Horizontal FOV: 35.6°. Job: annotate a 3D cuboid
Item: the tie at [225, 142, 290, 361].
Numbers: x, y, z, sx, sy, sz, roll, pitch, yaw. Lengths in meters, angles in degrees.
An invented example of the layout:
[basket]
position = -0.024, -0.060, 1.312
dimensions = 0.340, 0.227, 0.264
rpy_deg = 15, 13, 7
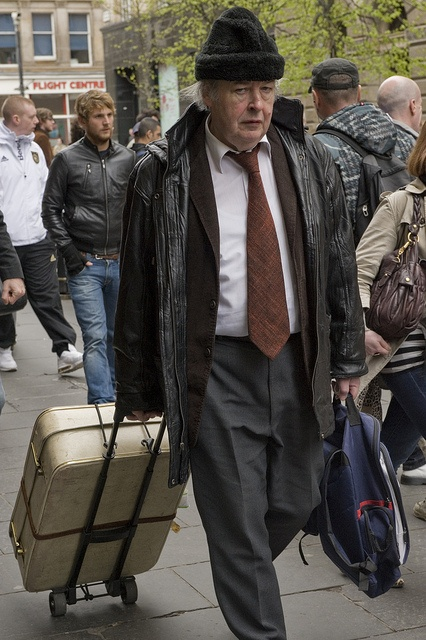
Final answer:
[tie]
position = 0.125, -0.189, 1.789
dimensions = 0.129, 0.574, 0.136
rpy_deg = -2, 4, -25

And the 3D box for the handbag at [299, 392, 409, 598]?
[handbag]
position = 0.469, 0.569, 2.333
dimensions = 0.370, 0.612, 0.340
rpy_deg = -15, -9, 38

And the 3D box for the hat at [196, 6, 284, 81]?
[hat]
position = 0.074, -0.679, 1.665
dimensions = 0.223, 0.147, 0.213
rpy_deg = -1, 9, -8

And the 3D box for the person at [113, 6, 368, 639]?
[person]
position = 0.124, 0.023, 1.911
dimensions = 0.726, 1.700, 0.408
rpy_deg = -2, 4, -25
